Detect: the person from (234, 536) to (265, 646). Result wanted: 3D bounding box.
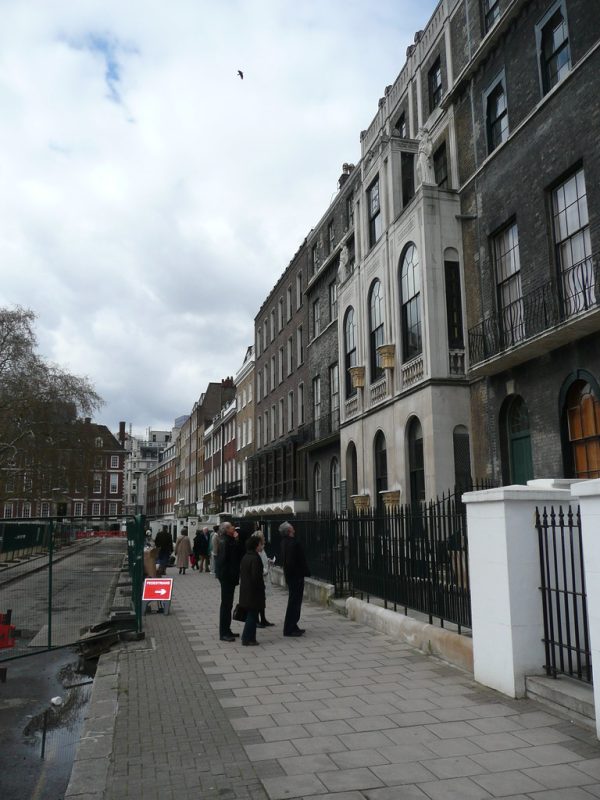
[{"bbox_3d":[-0.749,2.866,9.009,0.393,1.575,0.500,0,-9,-9],"label":"person"}]

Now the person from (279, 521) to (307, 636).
[{"bbox_3d":[-0.113,2.900,9.737,0.392,1.778,0.765,-1,-9,-2],"label":"person"}]
